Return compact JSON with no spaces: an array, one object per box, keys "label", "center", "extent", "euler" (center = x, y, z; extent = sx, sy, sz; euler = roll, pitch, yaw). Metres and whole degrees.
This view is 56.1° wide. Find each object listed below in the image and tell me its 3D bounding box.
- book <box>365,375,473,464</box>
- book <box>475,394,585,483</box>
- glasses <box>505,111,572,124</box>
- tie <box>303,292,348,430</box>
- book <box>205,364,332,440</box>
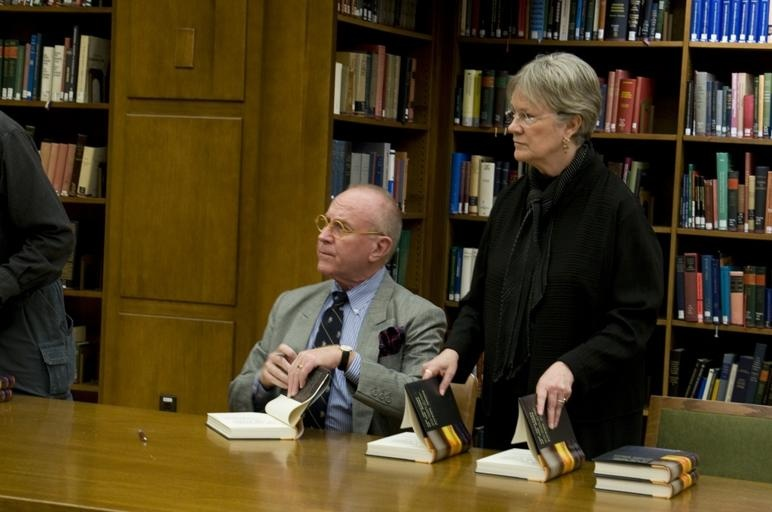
[{"label":"book","center":[0.100,0.519,2.385],"extent":[0.242,0.237,0.334],"euler":[-3,-3,33]},{"label":"book","center":[0.448,0.495,2.295],"extent":[0.240,0.239,0.346],"euler":[-2,-2,32]},{"label":"glasses","center":[0.526,-0.520,2.699],"extent":[0.126,0.041,0.318],"euler":[-9,18,-32]},{"label":"tie","center":[-0.204,0.416,2.838],"extent":[0.116,0.527,0.139],"euler":[25,-22,-28]},{"label":"book","center":[-0.402,0.456,2.464],"extent":[0.281,0.178,0.293],"euler":[2,-4,-10]}]
